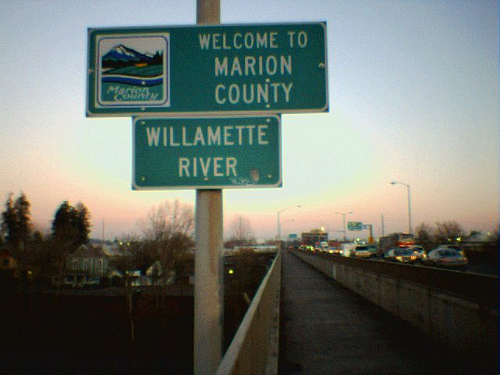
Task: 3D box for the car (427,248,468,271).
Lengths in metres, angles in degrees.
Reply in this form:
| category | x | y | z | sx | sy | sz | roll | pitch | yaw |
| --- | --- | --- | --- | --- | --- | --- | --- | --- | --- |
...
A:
| category | x | y | z | sx | sy | sz | roll | pitch | yaw |
| --- | --- | --- | --- | --- | --- | --- | --- | --- | --- |
| car | 11.929 | 4.363 | 31.966 | 0.985 | 0.888 | 2.429 | -3 | 2 | 2 |

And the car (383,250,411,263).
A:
| category | x | y | z | sx | sy | sz | roll | pitch | yaw |
| --- | --- | --- | --- | --- | --- | --- | --- | --- | --- |
| car | 11.318 | 5.304 | 39.634 | 1.725 | 0.933 | 2.942 | -6 | -6 | 18 |

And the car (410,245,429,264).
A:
| category | x | y | z | sx | sy | sz | roll | pitch | yaw |
| --- | --- | --- | --- | --- | --- | --- | --- | --- | --- |
| car | 12.923 | 5.195 | 39.961 | 1.506 | 1.271 | 2.768 | -3 | -18 | 8 |
